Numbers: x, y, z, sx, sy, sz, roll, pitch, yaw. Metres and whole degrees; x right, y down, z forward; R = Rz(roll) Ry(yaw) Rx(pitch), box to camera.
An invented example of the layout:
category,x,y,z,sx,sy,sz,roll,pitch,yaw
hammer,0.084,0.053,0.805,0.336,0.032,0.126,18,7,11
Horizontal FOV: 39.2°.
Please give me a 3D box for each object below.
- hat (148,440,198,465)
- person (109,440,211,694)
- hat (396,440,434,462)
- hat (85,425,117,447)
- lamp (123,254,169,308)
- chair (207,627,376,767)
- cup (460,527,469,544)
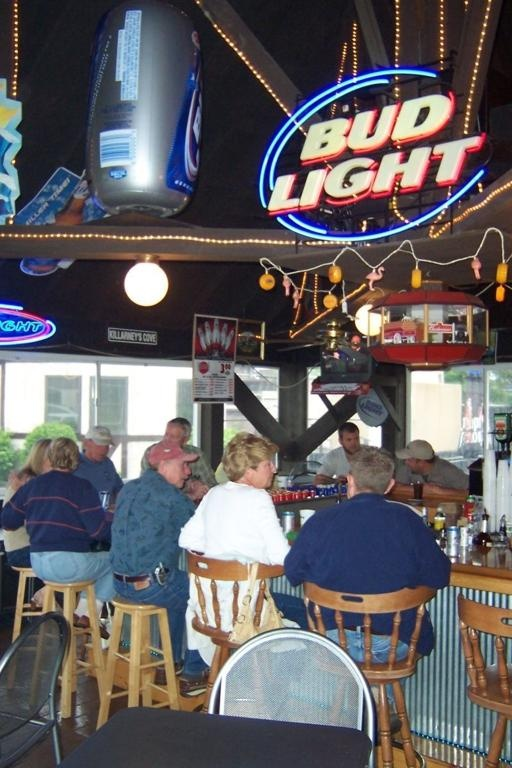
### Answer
category,x,y,z,sx,sy,sz,roll,pitch,yaw
hat,-0.377,0.311,3.360,0.233,0.101,0.144,-3,1,-14
person,-0.435,0.795,3.486,0.384,1.075,0.627,18,16,36
hat,1.158,0.480,5.273,0.233,0.119,0.150,3,5,2
hat,-1.090,0.363,5.058,0.133,0.093,0.181,14,-5,-38
lamp,-0.622,-0.588,4.062,0.217,0.264,0.211,0,-4,-8
chair,0.100,0.726,1.864,0.388,0.463,0.342,0,-10,6
cup,0.888,0.647,3.058,0.037,0.074,0.026,0,-4,3
